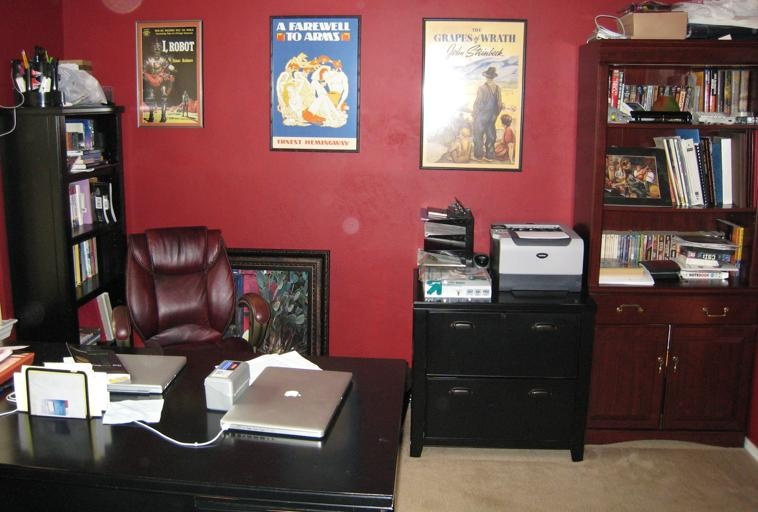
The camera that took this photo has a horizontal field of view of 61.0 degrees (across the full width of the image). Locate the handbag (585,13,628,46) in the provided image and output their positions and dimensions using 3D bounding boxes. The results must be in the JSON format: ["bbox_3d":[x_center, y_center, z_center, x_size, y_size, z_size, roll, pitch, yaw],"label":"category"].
[{"bbox_3d":[1.495,-1.490,4.227,0.197,0.336,0.149,-1,-8,4],"label":"handbag"}]

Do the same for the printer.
[{"bbox_3d":[1.015,-0.002,4.122,0.459,0.293,0.471,0,6,6],"label":"printer"}]

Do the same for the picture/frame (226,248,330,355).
[{"bbox_3d":[-0.732,0.299,4.621,0.814,0.795,0.057,0,3,3],"label":"picture/frame"}]

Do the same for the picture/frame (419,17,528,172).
[{"bbox_3d":[0.664,-1.166,4.468,1.054,1.352,0.050,1,5,-3],"label":"picture/frame"}]

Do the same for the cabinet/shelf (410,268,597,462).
[{"bbox_3d":[0.756,0.653,4.542,1.313,1.200,0.977,0,7,3],"label":"cabinet/shelf"}]
